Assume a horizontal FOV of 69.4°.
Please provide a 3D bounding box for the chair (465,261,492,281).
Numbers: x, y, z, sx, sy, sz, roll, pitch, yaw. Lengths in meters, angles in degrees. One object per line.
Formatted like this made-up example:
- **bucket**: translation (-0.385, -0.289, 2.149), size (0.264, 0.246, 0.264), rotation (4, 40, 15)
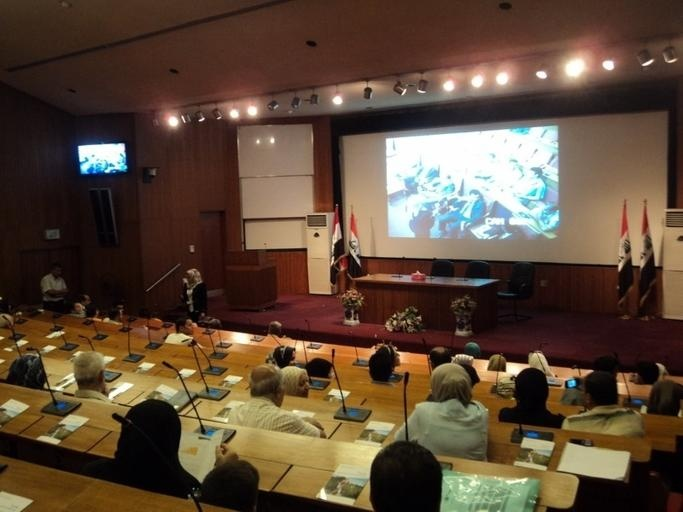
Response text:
- **chair**: translation (2.641, 0.275, 9.529), size (0.300, 0.475, 0.367), rotation (0, 1, 28)

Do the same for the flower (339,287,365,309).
- **flower**: translation (0.188, 0.792, 9.374), size (0.345, 0.341, 0.368), rotation (2, 3, -12)

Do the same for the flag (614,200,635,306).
- **flag**: translation (5.462, 0.020, 9.504), size (0.289, 2.214, 0.469), rotation (2, 4, 32)

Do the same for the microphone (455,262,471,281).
- **microphone**: translation (2.536, 0.308, 10.286), size (0.282, 0.635, 0.319), rotation (-1, 5, -1)

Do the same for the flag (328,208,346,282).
- **flag**: translation (-0.113, -0.254, 12.032), size (0.384, 1.997, 0.881), rotation (-1, 4, 0)

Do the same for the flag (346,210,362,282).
- **flag**: translation (0.302, -0.259, 11.622), size (0.304, 1.504, 0.523), rotation (0, 4, 1)

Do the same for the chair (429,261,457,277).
- **chair**: translation (2.002, 0.239, 9.876), size (0.317, 0.472, 0.364), rotation (1, -1, 21)

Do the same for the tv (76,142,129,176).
- **tv**: translation (-5.301, -2.154, 10.967), size (1.175, 0.685, 0.184), rotation (1, 4, 17)

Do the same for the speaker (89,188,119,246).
- **speaker**: translation (-5.242, -0.844, 10.910), size (0.519, 1.279, 0.352), rotation (0, 4, 11)
